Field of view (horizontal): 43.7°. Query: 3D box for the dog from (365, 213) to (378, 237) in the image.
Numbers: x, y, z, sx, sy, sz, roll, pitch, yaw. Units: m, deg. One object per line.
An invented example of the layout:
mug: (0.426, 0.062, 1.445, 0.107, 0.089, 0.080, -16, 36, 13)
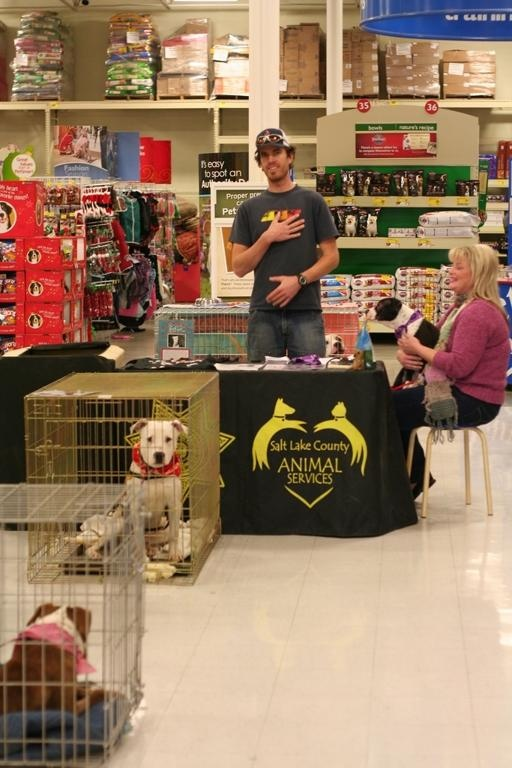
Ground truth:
dog: (1.543, -2.101, 8.470, 0.177, 0.284, 0.090, 0, 0, -24)

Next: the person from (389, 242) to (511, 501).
person: (1.040, -0.026, 3.417, 0.578, 1.324, 0.512, 0, 0, 30)

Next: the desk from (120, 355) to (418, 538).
desk: (0.251, 0.288, 3.509, 1.032, 0.715, 0.823, -1, 4, 3)

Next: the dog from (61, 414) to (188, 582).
dog: (-0.439, 0.423, 2.592, 0.443, 0.586, 0.581, 9, 10, 26)

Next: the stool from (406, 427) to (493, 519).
stool: (1.150, 0.457, 3.667, 0.370, 0.540, 0.450, -1, 6, 12)

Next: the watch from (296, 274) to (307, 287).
watch: (0.241, -0.539, 3.334, 0.044, 0.070, 0.062, -29, 12, -14)

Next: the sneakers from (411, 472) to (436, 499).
sneakers: (0.946, 0.576, 3.627, 0.095, 0.142, 0.321, -4, -9, 13)

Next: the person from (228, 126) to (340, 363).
person: (0.154, -0.764, 3.466, 0.568, 1.089, 0.404, 0, 0, -4)
